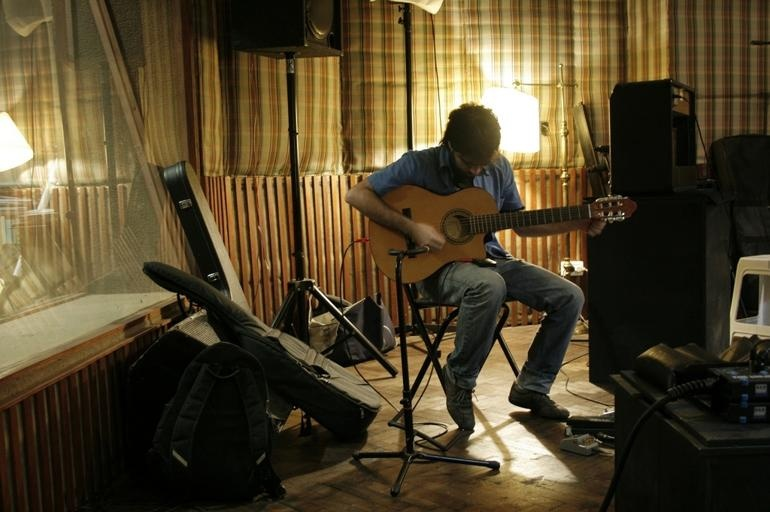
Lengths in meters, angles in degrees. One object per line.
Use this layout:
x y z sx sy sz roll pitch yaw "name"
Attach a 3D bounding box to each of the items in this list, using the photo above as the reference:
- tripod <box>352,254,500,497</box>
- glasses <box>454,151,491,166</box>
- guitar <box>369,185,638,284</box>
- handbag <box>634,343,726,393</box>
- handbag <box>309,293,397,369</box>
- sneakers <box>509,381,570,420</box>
0.148 0.506 3.744 0.639 1.136 0.744 -6 11 -25 "tripod"
0.485 -0.539 4.041 0.224 0.081 0.114 1 11 13 "glasses"
0.579 -0.185 4.068 1.498 0.627 0.205 -6 -4 10 "guitar"
1.077 0.404 2.724 0.184 0.070 0.188 -5 5 -13 "handbag"
-0.225 0.523 5.141 0.400 0.210 0.565 4 6 -16 "handbag"
0.907 0.852 4.317 0.398 0.183 0.139 10 8 31 "sneakers"
